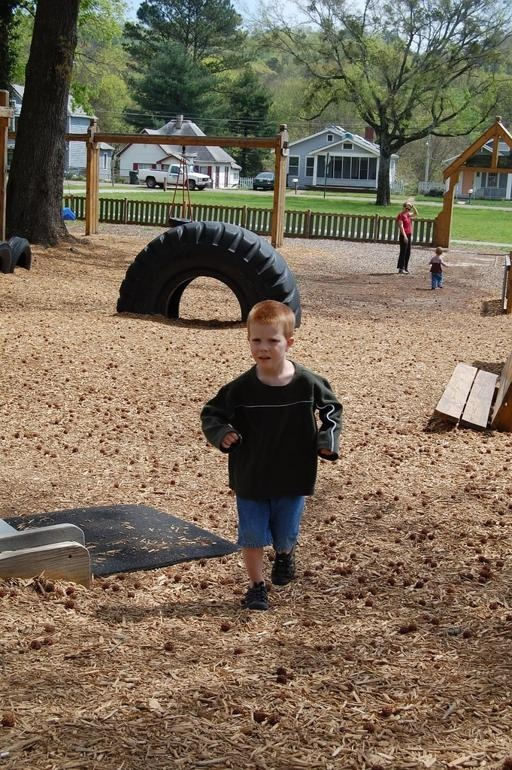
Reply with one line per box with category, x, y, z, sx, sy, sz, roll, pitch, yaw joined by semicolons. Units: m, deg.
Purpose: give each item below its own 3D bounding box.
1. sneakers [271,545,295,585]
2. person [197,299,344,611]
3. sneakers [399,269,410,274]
sneakers;0.118;0.782;3.096;0.071;0.073;0.191;0;20;8
person;0.047;0.287;2.834;0.544;1.231;0.501;5;4;-3
sneakers;3.549;-2.766;17.333;0.108;0.123;0.306;0;3;-9
